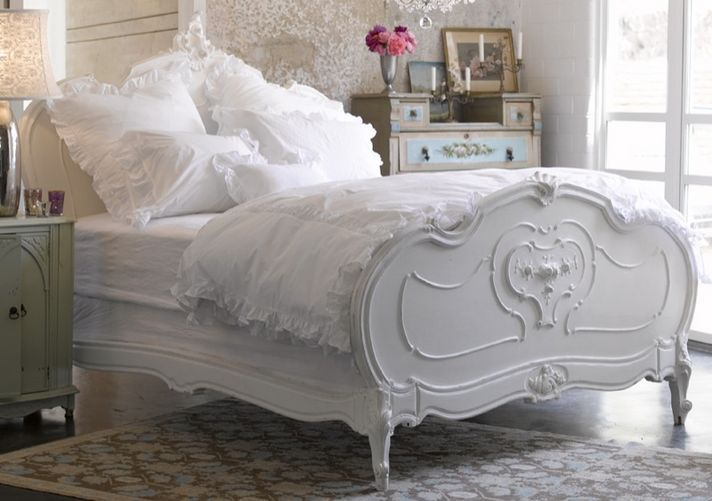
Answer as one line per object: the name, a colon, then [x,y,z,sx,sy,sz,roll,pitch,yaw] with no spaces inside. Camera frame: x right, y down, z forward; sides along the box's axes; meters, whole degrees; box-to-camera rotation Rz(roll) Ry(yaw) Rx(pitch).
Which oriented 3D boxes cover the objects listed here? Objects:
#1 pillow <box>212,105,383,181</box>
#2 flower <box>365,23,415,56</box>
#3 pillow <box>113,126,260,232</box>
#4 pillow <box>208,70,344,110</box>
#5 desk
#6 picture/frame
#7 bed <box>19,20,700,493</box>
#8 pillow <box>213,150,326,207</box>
pillow: [-0.234,-0.590,3.945,0.593,0.185,0.538,6,33,-43]
flower: [0.201,-1.400,4.919,0.235,0.167,0.258,-3,1,-35]
pillow: [-0.834,-0.359,3.459,0.491,0.514,0.137,0,-25,-35]
pillow: [-0.487,-0.905,4.274,0.393,0.139,0.443,9,2,43]
desk: [0.750,-0.733,5.162,1.037,0.705,0.472,1,5,0]
picture/frame: [0.891,-1.417,5.423,0.522,0.475,0.055,-3,1,-11]
bed: [0.050,0.068,3.289,1.930,1.543,1.576,4,8,38]
pillow: [-0.413,-0.350,3.479,0.349,0.107,0.316,0,45,-43]
